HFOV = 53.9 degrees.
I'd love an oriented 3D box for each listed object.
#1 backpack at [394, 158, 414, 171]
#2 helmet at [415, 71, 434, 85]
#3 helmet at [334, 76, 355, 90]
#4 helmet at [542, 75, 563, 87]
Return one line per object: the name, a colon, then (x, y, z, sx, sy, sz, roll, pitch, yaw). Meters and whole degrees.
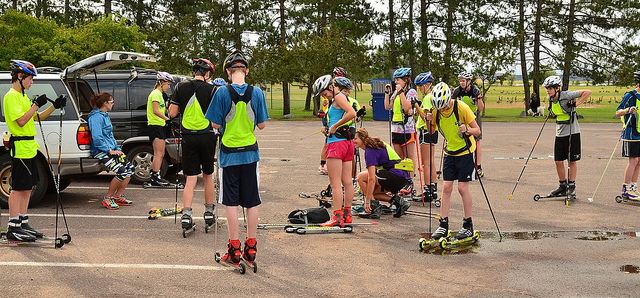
backpack: (2.884, 0.552, 21.639, 0.621, 0.268, 0.360, -2, -5, 16)
helmet: (3.512, -2.428, 21.497, 0.602, 0.285, 0.394, -12, 27, -14)
helmet: (0.766, -2.133, 20.304, 0.533, 0.176, 0.343, 9, 23, -14)
helmet: (8.408, -2.466, 22.627, 0.769, 0.318, 0.495, 1, -1, -20)
